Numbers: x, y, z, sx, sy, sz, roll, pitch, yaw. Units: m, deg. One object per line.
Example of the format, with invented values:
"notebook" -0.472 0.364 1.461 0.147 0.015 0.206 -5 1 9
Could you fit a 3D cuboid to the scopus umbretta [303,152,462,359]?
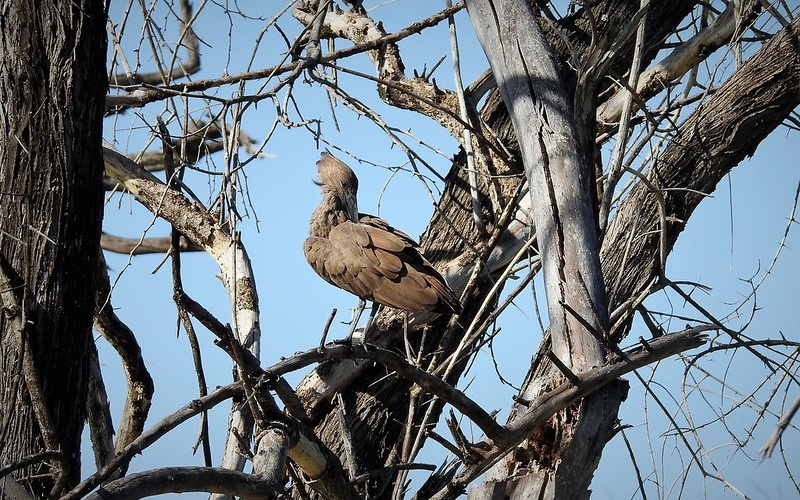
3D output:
"scopus umbretta" -0.159 0.052 11.895 1.498 0.759 1.576 6 -79 34
